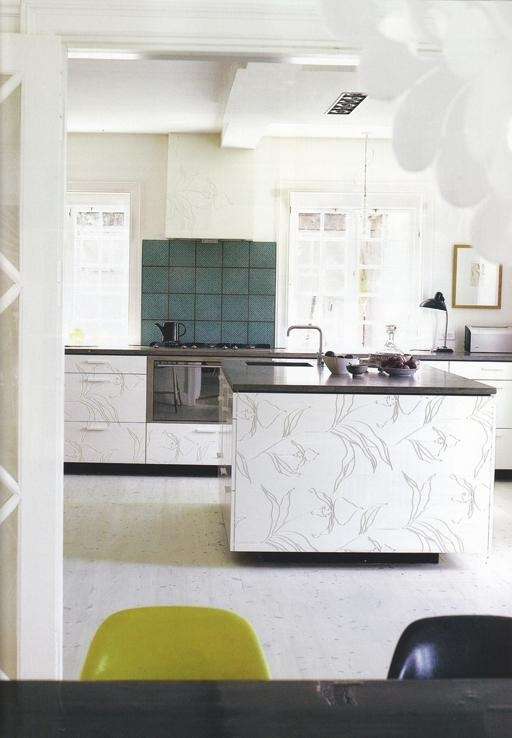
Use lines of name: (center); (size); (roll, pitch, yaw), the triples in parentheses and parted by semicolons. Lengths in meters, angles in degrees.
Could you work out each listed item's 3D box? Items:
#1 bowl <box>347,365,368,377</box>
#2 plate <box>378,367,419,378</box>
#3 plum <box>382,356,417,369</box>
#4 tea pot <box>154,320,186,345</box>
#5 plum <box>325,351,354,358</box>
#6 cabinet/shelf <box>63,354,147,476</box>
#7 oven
bowl: (0.454, 0.004, 2.995); (0.098, 0.050, 0.100); (1, 4, 0)
plate: (0.639, 0.008, 3.044); (0.151, 0.043, 0.240); (2, 5, 7)
plum: (0.640, -0.035, 3.010); (0.167, 0.059, 0.096); (4, 5, 31)
tea pot: (-0.590, -0.255, 4.680); (0.213, 0.158, 0.214); (1, 4, 0)
plum: (0.393, -0.066, 3.134); (0.067, 0.024, 0.065); (-3, 7, -30)
cabinet/shelf: (-0.927, 0.302, 4.236); (0.655, 0.913, 0.597); (0, -7, -4)
oven: (-0.356, 0.205, 4.342); (0.608, 0.550, 0.421); (-1, -4, 33)
